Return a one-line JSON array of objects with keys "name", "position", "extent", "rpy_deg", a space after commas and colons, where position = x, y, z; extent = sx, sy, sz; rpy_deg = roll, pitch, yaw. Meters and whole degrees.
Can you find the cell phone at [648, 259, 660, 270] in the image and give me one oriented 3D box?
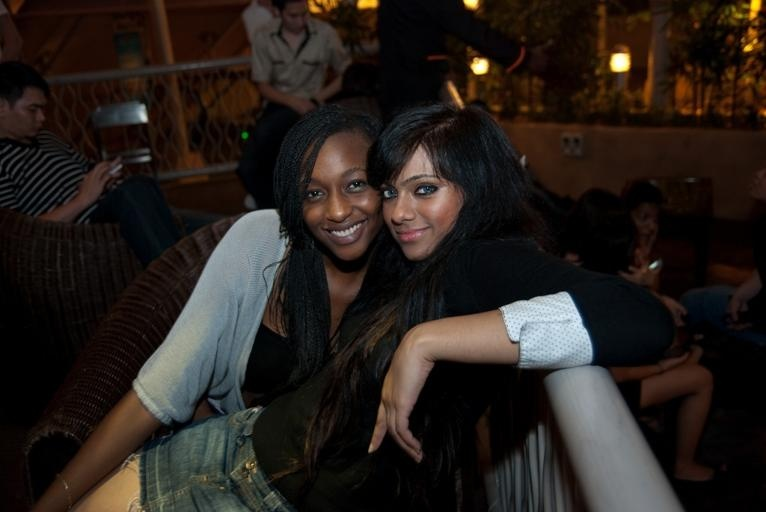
[{"name": "cell phone", "position": [1.820, 0.075, 3.808], "extent": [0.064, 0.017, 0.071], "rpy_deg": [4, 41, 19]}]
